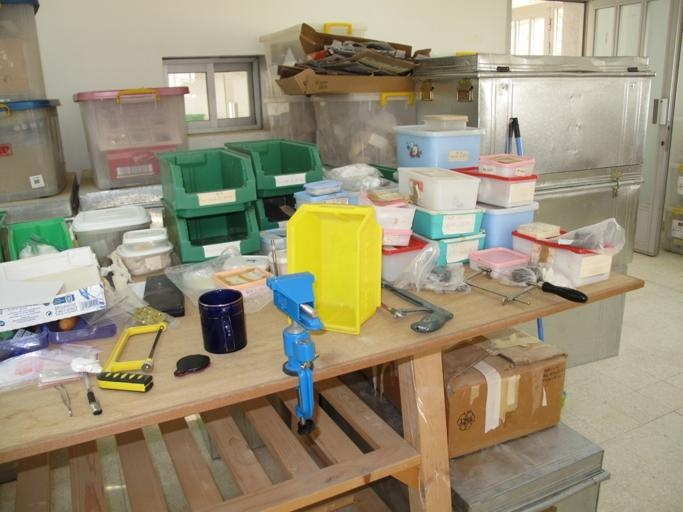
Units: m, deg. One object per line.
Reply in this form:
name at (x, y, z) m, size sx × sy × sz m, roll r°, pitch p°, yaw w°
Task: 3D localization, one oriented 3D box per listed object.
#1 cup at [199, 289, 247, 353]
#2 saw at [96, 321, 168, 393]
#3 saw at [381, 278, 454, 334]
cup at (-0.356, 0.188, 1.491) m, size 0.131 × 0.156 × 0.152 m, roll -8°, pitch 20°, yaw -11°
saw at (-0.611, 0.287, 1.445) m, size 0.165 × 0.060 × 0.337 m, roll -6°, pitch 18°, yaw -8°
saw at (0.227, 0.153, 1.674) m, size 0.167 × 0.032 × 0.375 m, roll -8°, pitch 24°, yaw -21°
